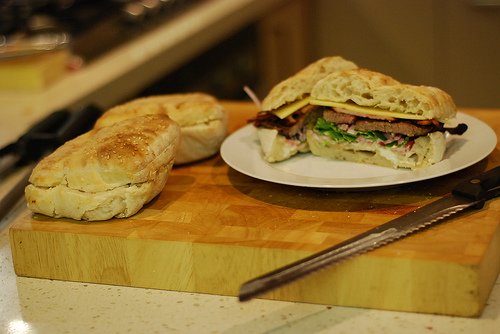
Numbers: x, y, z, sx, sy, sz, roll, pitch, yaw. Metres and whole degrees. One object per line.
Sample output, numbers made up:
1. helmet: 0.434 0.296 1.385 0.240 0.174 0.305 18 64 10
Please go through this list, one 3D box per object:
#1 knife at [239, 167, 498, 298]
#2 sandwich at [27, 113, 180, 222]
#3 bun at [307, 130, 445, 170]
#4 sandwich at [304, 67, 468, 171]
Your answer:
1. knife: 0.359 0.201 1.219 0.892 0.064 0.113 -17 26 6
2. sandwich: -0.491 -0.008 1.491 0.383 0.242 0.481 13 44 18
3. bun: 0.500 -0.050 1.587 0.455 0.112 0.151 7 11 29
4. sandwich: 0.588 -0.174 1.706 0.357 0.277 0.533 -9 13 -43
